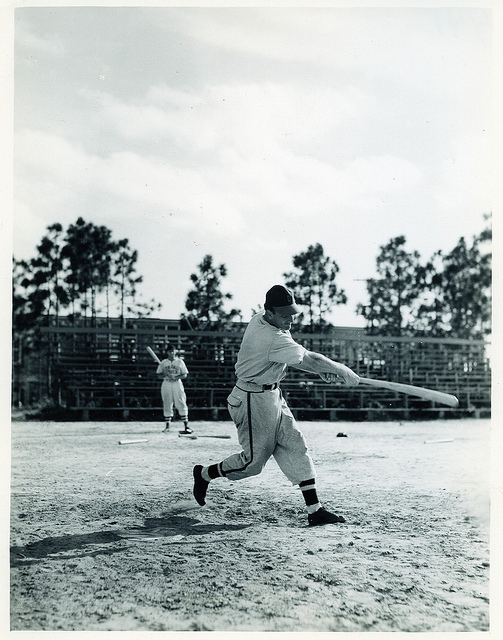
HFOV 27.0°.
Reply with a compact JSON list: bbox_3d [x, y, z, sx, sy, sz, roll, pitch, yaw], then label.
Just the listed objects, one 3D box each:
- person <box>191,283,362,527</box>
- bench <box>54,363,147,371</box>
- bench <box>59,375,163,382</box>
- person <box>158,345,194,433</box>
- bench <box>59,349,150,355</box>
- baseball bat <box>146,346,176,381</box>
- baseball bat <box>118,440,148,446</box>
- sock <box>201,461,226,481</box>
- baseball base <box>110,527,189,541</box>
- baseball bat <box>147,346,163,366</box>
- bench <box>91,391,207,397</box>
[{"bbox_3d":[0.131,0.588,7.477,1.096,1.669,0.367,3,7,29],"label":"person"},{"bbox_3d":[-2.528,0.773,17.398,1.490,0.134,0.146,0,6,-5],"label":"bench"},{"bbox_3d":[-2.343,0.960,17.371,1.667,0.144,0.193,0,6,-5],"label":"bench"},{"bbox_3d":[-1.052,0.946,14.266,0.436,1.177,0.968,0,6,-5],"label":"person"},{"bbox_3d":[-2.463,0.522,17.521,1.478,0.116,0.173,-1,6,-10],"label":"bench"},{"bbox_3d":[-1.350,0.639,15.655,0.070,0.795,0.106,-35,-13,-45],"label":"baseball bat"},{"bbox_3d":[-1.362,1.436,12.159,0.468,0.059,0.076,7,-2,-39],"label":"baseball bat"},{"bbox_3d":[-0.277,1.098,7.626,0.074,0.183,0.280,-4,7,-31],"label":"sock"},{"bbox_3d":[-0.690,1.449,7.098,0.519,0.014,0.325,-1,6,-7],"label":"baseball base"},{"bbox_3d":[-1.527,0.554,16.626,0.067,0.385,0.057,-34,4,29],"label":"baseball bat"},{"bbox_3d":[-1.734,1.160,16.609,2.110,0.151,0.160,1,-5,-9],"label":"bench"}]
